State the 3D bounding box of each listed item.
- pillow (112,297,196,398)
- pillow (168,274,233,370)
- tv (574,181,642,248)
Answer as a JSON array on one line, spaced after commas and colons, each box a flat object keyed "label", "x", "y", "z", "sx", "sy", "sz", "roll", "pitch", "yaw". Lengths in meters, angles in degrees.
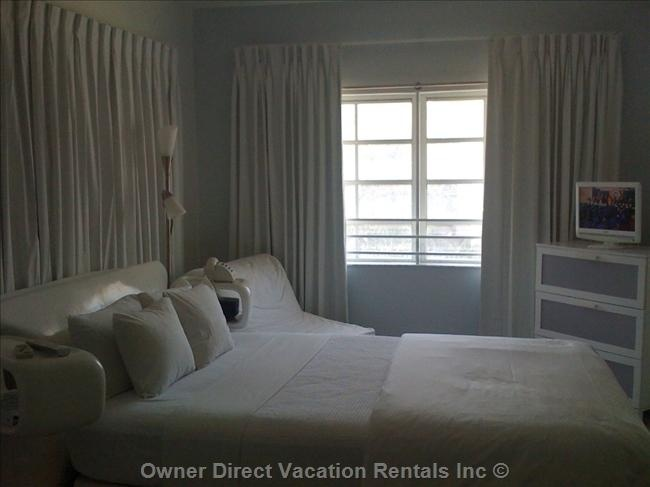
[{"label": "pillow", "x": -0.834, "y": 0.513, "z": 2.438, "sx": 0.169, "sy": 0.329, "sz": 0.389, "roll": -5, "pitch": 3, "yaw": 18}, {"label": "pillow", "x": -0.678, "y": 0.449, "z": 2.786, "sx": 0.195, "sy": 0.364, "sz": 0.407, "roll": -9, "pitch": -1, "yaw": 21}, {"label": "tv", "x": 2.019, "y": -0.206, "z": 3.594, "sx": 0.168, "sy": 0.485, "sz": 0.464, "roll": -2, "pitch": 0, "yaw": -43}]
